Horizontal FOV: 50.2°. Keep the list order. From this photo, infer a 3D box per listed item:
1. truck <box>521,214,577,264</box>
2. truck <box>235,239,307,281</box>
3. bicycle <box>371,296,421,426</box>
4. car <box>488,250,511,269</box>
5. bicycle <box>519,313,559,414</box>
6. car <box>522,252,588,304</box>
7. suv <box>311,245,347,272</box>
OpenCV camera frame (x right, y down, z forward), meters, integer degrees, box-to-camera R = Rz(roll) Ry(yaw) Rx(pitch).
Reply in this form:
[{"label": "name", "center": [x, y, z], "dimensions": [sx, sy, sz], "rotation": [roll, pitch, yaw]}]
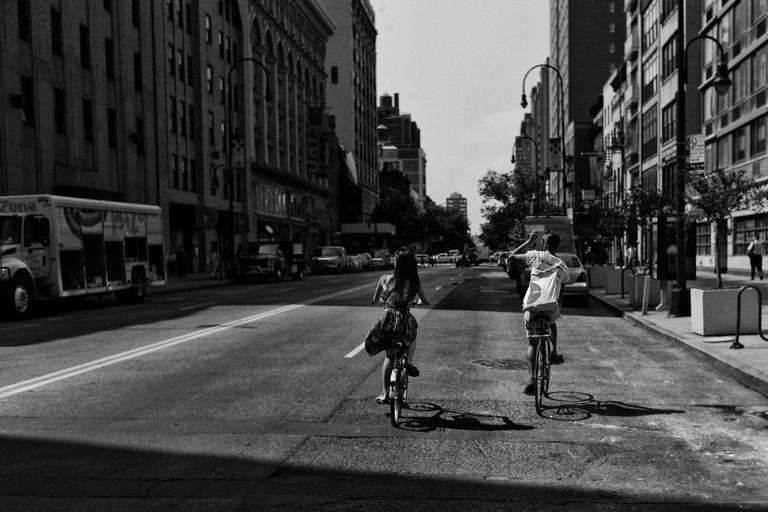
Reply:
[{"label": "truck", "center": [5.232, -0.591, 25.942], "dimensions": [1.488, 1.761, 2.724], "rotation": [-1, -16, 8]}, {"label": "truck", "center": [-6.503, 0.362, 47.234], "dimensions": [2.120, 1.795, 3.624], "rotation": [-2, -6, 14]}, {"label": "bicycle", "center": [0.181, 1.826, 12.382], "dimensions": [0.423, 1.552, 0.894], "rotation": [-3, 1, 0]}, {"label": "car", "center": [11.566, 0.422, 82.392], "dimensions": [1.673, 1.660, 2.990], "rotation": [1, 8, 1]}, {"label": "bicycle", "center": [2.473, 1.684, 12.999], "dimensions": [0.370, 1.302, 0.928], "rotation": [-3, 1, 22]}, {"label": "car", "center": [3.818, 0.546, 17.946], "dimensions": [1.241, 1.364, 2.915], "rotation": [1, 6, 6]}, {"label": "suv", "center": [-4.135, 0.339, 60.830], "dimensions": [2.445, 1.885, 3.177], "rotation": [-4, 1, -1]}]
